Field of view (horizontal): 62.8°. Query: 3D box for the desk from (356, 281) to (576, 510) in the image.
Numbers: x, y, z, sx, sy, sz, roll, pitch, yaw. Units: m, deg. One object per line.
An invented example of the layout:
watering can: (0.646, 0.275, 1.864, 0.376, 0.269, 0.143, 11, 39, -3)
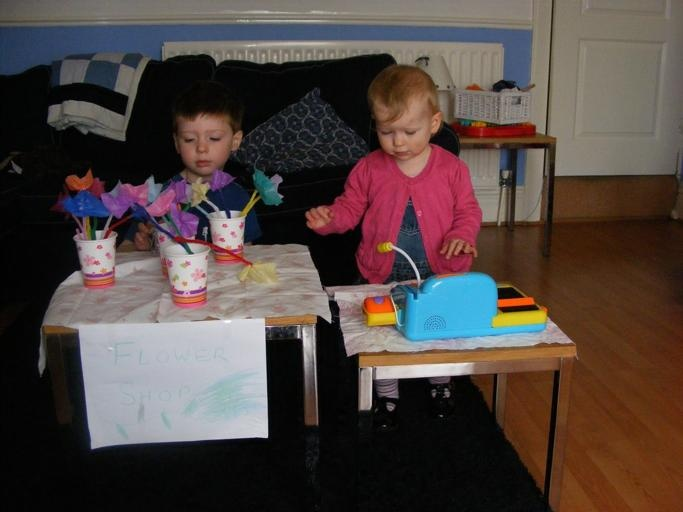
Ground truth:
desk: (0.315, 0.318, 1.615, 0.514, 0.485, 0.547, -1, 24, 0)

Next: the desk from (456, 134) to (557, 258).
desk: (1.121, -0.368, 3.787, 0.793, 0.835, 0.790, -1, 8, 2)

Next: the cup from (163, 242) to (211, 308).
cup: (-0.385, 0.052, 1.411, 0.110, 0.134, 0.117, 0, 10, 0)

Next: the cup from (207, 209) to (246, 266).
cup: (-0.326, -0.056, 1.604, 0.127, 0.151, 0.133, -2, 8, 0)

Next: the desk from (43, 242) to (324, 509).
desk: (-0.438, 0.273, 1.566, 0.822, 0.482, 0.445, -3, 16, -3)

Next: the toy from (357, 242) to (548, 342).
toy: (0.261, 0.046, 1.369, 0.368, 0.210, 0.222, -5, 11, -11)

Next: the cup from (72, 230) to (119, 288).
cup: (-0.652, 0.013, 1.494, 0.112, 0.130, 0.111, 0, 10, 0)

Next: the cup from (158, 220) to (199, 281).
cup: (-0.478, -0.015, 1.565, 0.106, 0.123, 0.169, -3, 41, -27)
